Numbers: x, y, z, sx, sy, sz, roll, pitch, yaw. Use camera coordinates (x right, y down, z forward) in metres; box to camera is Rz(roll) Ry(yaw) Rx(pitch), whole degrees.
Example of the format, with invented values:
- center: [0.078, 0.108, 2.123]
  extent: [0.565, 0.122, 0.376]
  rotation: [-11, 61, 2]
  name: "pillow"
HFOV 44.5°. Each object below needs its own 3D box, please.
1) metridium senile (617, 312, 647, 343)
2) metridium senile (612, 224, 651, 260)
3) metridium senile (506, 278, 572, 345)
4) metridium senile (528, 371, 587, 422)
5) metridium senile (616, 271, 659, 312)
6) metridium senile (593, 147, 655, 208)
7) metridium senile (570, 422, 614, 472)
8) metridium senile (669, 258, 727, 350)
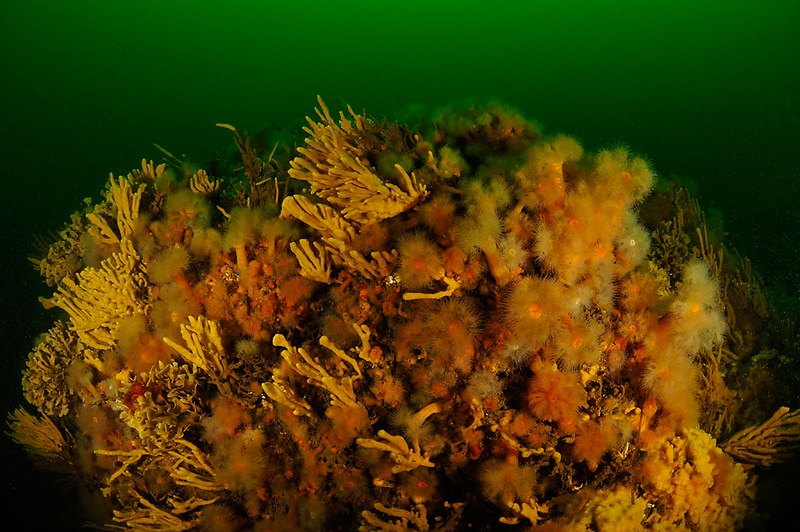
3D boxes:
- center: [2.008, 0.526, 8.546]
  extent: [0.240, 0.090, 0.210]
  rotation: [3, 63, -4]
  name: "metridium senile"
- center: [2.045, -0.203, 8.630]
  extent: [0.277, 0.125, 0.312]
  rotation: [8, 87, -22]
  name: "metridium senile"
- center: [1.128, 0.383, 8.390]
  extent: [0.496, 0.201, 0.523]
  rotation: [2, 63, -5]
  name: "metridium senile"
- center: [1.316, 1.104, 8.370]
  extent: [0.484, 0.193, 0.388]
  rotation: [11, 63, 0]
  name: "metridium senile"
- center: [2.082, 0.223, 8.594]
  extent: [0.307, 0.180, 0.346]
  rotation: [5, 87, -15]
  name: "metridium senile"
- center: [1.954, -0.807, 8.701]
  extent: [0.548, 0.248, 0.434]
  rotation: [26, 64, 7]
  name: "metridium senile"
- center: [1.642, 1.512, 8.423]
  extent: [0.349, 0.173, 0.403]
  rotation: [5, 93, 10]
  name: "metridium senile"
- center: [2.611, 0.333, 8.773]
  extent: [0.502, 0.357, 0.797]
  rotation: [4, 89, -9]
  name: "metridium senile"
